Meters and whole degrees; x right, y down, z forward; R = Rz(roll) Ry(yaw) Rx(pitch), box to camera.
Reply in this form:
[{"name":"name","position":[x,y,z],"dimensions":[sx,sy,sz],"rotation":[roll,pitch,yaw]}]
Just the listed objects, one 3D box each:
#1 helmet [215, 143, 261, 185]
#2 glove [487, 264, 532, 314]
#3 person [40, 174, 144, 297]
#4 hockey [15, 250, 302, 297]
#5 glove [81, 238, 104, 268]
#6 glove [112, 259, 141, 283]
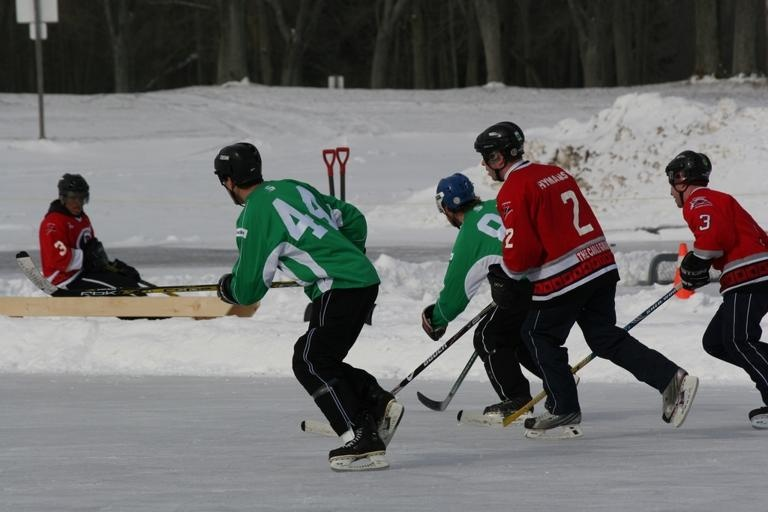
[{"name":"helmet","position":[-1.467,-0.995,14.544],"dimensions":[0.411,0.450,0.499],"rotation":[-18,30,-41]},{"name":"glove","position":[1.344,0.335,14.701],"dimensions":[0.462,0.502,0.176],"rotation":[-1,8,1]},{"name":"person","position":[-3.734,-0.065,18.280],"dimensions":[1.579,2.023,1.073],"rotation":[-3,5,19]},{"name":"hockey","position":[-2.869,0.286,17.643],"dimensions":[3.693,0.497,0.280],"rotation":[0,25,12]},{"name":"glove","position":[-3.826,-0.033,18.190],"dimensions":[0.157,0.369,0.298],"rotation":[-7,-13,41]},{"name":"glove","position":[-3.394,0.189,18.300],"dimensions":[0.421,0.135,0.252],"rotation":[32,7,-6]}]
